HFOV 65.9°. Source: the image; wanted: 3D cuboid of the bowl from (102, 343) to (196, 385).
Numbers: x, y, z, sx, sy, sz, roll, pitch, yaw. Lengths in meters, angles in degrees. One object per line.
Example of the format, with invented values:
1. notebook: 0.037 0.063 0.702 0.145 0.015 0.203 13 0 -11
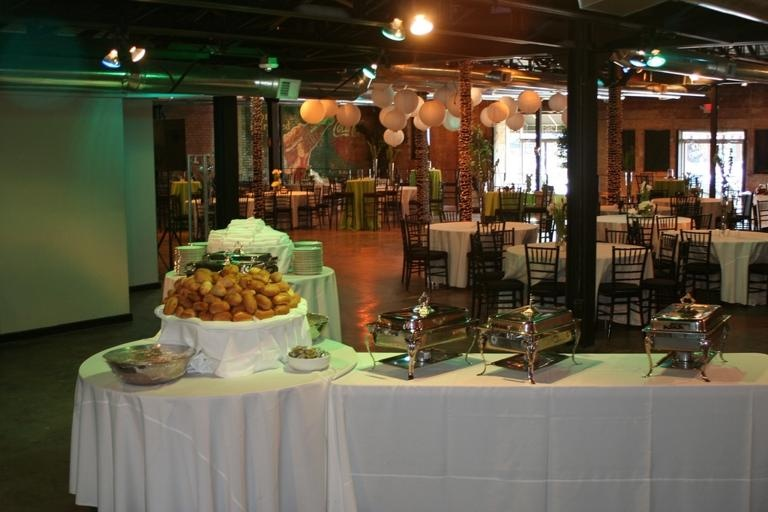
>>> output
1. bowl: -1.246 0.574 3.239 0.394 0.126 0.366 6 14 -1

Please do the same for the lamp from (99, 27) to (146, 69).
1. lamp: -2.828 -2.287 6.562 0.546 0.388 0.245 0 3 25

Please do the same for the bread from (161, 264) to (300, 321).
1. bread: -0.900 0.212 3.375 0.705 0.273 0.250 0 12 -5

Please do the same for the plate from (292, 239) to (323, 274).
1. plate: -0.743 0.018 5.717 0.301 0.260 0.421 -1 11 -9
